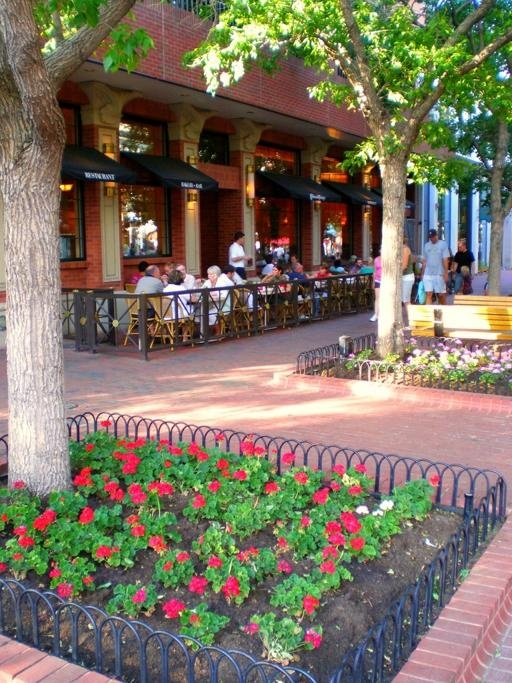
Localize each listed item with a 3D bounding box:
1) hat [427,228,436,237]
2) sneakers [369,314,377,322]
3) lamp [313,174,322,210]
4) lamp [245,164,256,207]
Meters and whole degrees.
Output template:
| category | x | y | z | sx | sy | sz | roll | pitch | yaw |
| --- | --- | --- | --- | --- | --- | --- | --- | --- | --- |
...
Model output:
| category | x | y | z | sx | sy | sz | roll | pitch | yaw |
| --- | --- | --- | --- | --- | --- | --- | --- | --- | --- |
| hat | 3.774 | -2.331 | 13.409 | 0.144 | 0.109 | 0.198 | 4 | 49 | 43 |
| sneakers | 2.841 | -0.556 | 15.197 | 0.117 | 0.137 | 0.343 | -5 | 14 | 1 |
| lamp | 2.240 | -5.561 | 23.380 | 0.327 | 1.506 | 1.281 | 2 | 6 | 11 |
| lamp | -0.203 | -4.703 | 18.948 | 0.132 | 1.306 | 0.400 | 6 | 8 | 40 |
